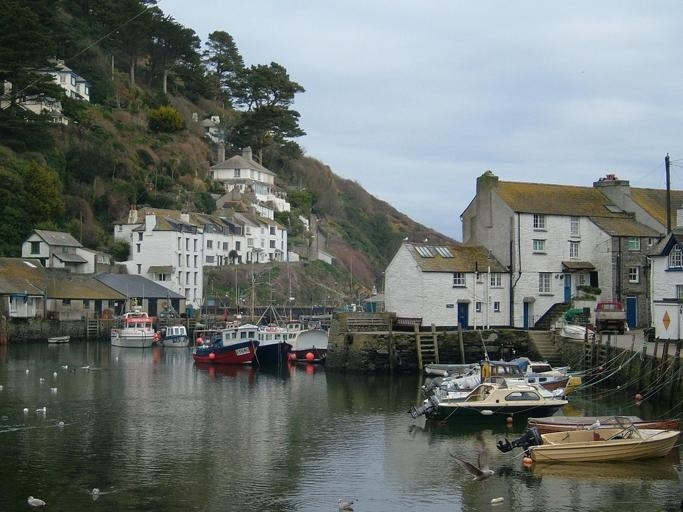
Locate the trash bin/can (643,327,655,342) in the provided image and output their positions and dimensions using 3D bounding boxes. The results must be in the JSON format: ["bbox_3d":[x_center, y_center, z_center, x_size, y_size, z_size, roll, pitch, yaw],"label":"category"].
[{"bbox_3d":[23.944,6.083,114.047,0.905,1.057,1.171,-3,-9,19],"label":"trash bin/can"}]

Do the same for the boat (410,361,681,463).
[{"bbox_3d":[14.980,11.484,101.973,15.563,5.547,7.737,-4,-6,42],"label":"boat"}]

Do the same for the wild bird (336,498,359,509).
[{"bbox_3d":[0.373,16.237,95.807,1.029,0.667,0.547,9,0,-4],"label":"wild bird"}]

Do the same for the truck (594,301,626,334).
[{"bbox_3d":[21.632,4.910,116.954,2.345,2.530,2.669,0,-4,9],"label":"truck"}]

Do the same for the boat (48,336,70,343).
[{"bbox_3d":[-27.691,8.167,143.229,1.701,0.525,0.700,3,-2,-37],"label":"boat"}]

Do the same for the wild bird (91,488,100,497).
[{"bbox_3d":[-16.213,15.506,96.318,0.435,0.383,0.422,-3,6,-30],"label":"wild bird"}]

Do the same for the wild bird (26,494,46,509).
[{"bbox_3d":[-19.986,15.971,95.328,1.109,0.444,0.594,13,14,41],"label":"wild bird"}]
